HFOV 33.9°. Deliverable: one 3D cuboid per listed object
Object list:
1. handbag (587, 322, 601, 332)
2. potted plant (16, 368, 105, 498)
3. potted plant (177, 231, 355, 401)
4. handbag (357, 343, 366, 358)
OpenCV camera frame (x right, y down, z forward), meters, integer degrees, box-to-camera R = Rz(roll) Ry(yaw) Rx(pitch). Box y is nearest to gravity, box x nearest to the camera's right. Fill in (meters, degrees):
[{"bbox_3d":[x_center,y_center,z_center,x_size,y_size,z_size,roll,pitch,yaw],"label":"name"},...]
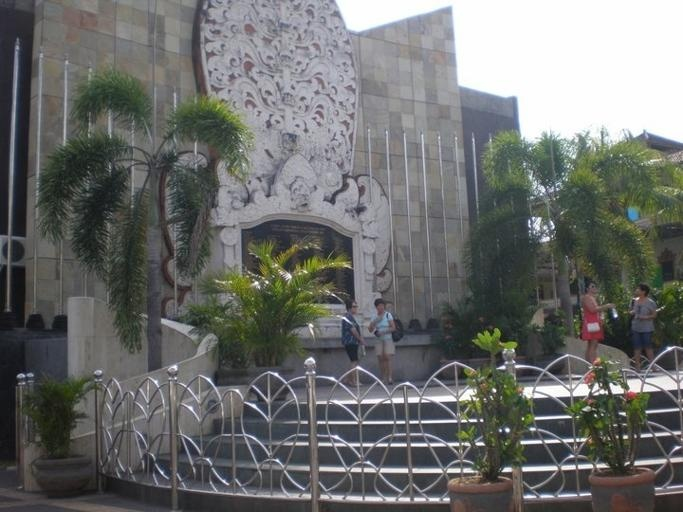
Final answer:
[{"bbox_3d":[4.972,1.454,22.258,0.169,0.215,0.070,-2,-10,13],"label":"handbag"},{"bbox_3d":[-4.776,3.372,20.462,1.700,2.816,1.790,6,-15,-32],"label":"potted plant"},{"bbox_3d":[-1.706,0.878,23.412,2.727,3.496,3.139,-1,-17,6],"label":"potted plant"},{"bbox_3d":[0.364,1.939,22.886,0.121,0.208,0.391,2,-6,-7],"label":"handbag"}]
